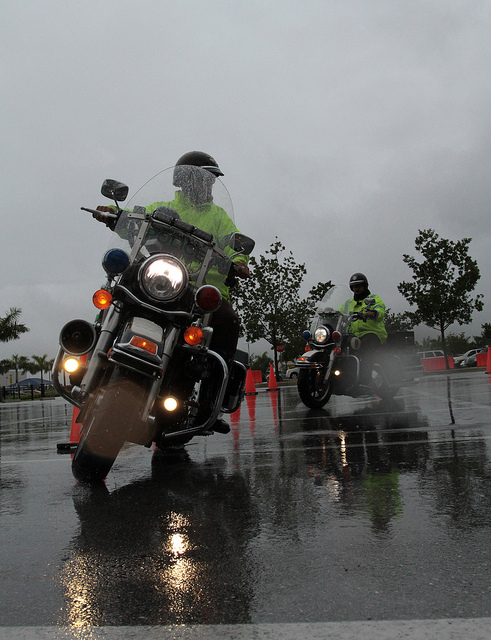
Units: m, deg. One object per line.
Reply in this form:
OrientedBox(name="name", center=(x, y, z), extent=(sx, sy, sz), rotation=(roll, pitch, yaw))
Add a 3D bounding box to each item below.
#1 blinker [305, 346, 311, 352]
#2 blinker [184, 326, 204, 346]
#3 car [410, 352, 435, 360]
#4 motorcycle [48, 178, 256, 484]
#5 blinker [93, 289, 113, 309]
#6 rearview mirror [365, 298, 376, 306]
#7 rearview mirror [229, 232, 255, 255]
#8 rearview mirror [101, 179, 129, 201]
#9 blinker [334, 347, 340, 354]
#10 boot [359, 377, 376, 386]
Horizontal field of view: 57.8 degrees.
OrientedBox(name="blinker", center=(1.236, 0.560, 8.812), extent=(0.105, 0.087, 0.110), rotation=(-2, -18, 10))
OrientedBox(name="blinker", center=(-0.414, 0.118, 3.490), extent=(0.186, 0.152, 0.050), rotation=(3, -4, -3))
OrientedBox(name="car", center=(17.183, 3.384, 42.815), extent=(2.066, 0.658, 3.121), rotation=(-7, -5, 29))
OrientedBox(name="motorcycle", center=(-0.753, 0.063, 3.593), extent=(1.244, 2.451, 0.796), rotation=(7, -11, -32))
OrientedBox(name="blinker", center=(-1.087, -0.163, 3.392), extent=(0.155, 0.160, 0.171), rotation=(7, -11, -31))
OrientedBox(name="rearview mirror", center=(2.588, -0.379, 9.197), extent=(0.151, 0.143, 0.178), rotation=(3, 7, 20))
OrientedBox(name="rearview mirror", center=(0.005, -0.749, 4.233), extent=(0.179, 0.235, 0.283), rotation=(8, -11, -37))
OrientedBox(name="rearview mirror", center=(-1.073, -1.067, 3.651), extent=(0.198, 0.197, 0.232), rotation=(4, -9, -20))
OrientedBox(name="blinker", center=(1.680, 0.549, 8.139), extent=(0.097, 0.111, 0.094), rotation=(-6, -12, 39))
OrientedBox(name="boot", center=(2.393, 1.193, 8.680), extent=(0.179, 0.266, 0.159), rotation=(11, -14, -42))
